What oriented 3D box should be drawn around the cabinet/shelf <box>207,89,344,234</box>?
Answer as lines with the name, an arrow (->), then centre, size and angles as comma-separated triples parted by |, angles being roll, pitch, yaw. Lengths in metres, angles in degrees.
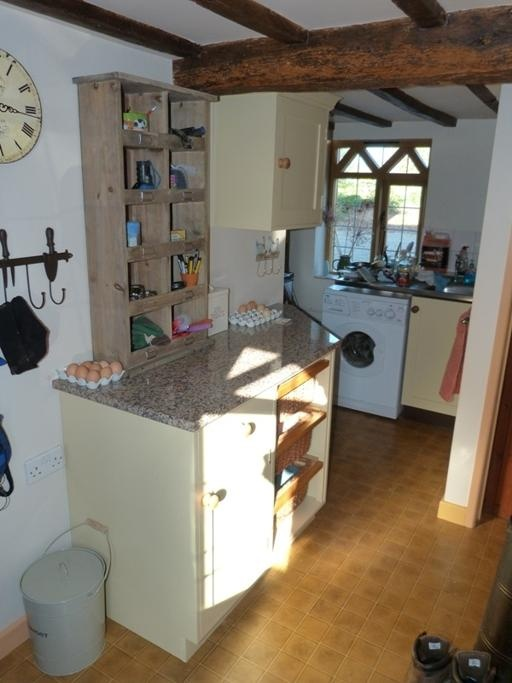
cabinet/shelf -> 0.070, -0.868, 2.707 | 0.406, 0.576, 0.591 | 11, 20, 27

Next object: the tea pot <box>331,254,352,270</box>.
tea pot -> 0.770, -0.728, 5.062 | 0.197, 0.181, 0.124 | 11, 17, 37

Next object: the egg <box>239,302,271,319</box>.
egg -> -0.008, -0.182, 3.062 | 0.114, 0.039, 0.111 | 3, 19, 3

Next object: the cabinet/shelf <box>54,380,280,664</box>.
cabinet/shelf -> -0.337, 0.620, 2.211 | 0.675, 0.913, 0.546 | 8, 12, 33

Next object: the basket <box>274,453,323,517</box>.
basket -> 0.205, 0.677, 2.603 | 0.187, 0.098, 0.280 | 0, 10, 30

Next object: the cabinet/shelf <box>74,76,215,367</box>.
cabinet/shelf -> -0.406, -0.448, 2.192 | 0.250, 1.023, 0.598 | 10, 19, 24

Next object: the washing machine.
washing machine -> 0.865, 0.046, 4.377 | 0.700, 0.893, 0.511 | 11, 19, 27

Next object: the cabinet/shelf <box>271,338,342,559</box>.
cabinet/shelf -> 0.227, 0.520, 2.624 | 0.342, 0.873, 0.770 | 6, 22, 18

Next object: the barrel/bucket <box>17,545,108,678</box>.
barrel/bucket -> -0.678, 0.966, 2.005 | 0.280, 0.344, 0.318 | 1, 17, 0
